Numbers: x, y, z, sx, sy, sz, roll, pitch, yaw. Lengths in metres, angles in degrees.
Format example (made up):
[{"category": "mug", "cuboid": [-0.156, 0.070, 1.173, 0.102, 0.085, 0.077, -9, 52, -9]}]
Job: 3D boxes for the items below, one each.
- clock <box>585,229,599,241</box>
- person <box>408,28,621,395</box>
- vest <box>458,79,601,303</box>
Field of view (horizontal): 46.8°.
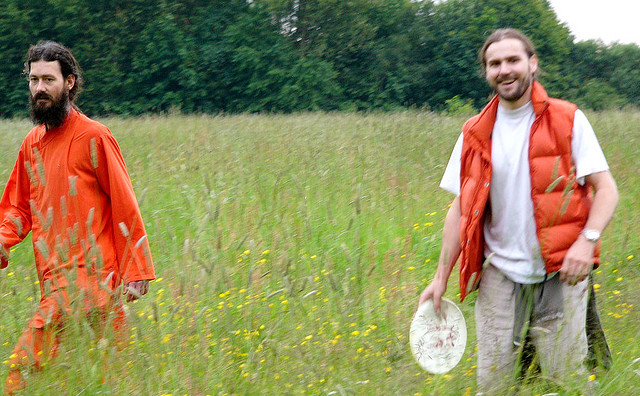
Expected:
[{"category": "clock", "cuboid": [2.125, 0.288, 5.802, 0.087, 0.084, 0.020, 0, -10, 4]}, {"category": "person", "cuboid": [1.616, 0.083, 5.975, 1.493, 2.856, 0.782, 6, 9, 15]}, {"category": "vest", "cuboid": [1.668, -0.020, 6.025, 1.101, 1.853, 0.550, 4, 9, 8]}]
